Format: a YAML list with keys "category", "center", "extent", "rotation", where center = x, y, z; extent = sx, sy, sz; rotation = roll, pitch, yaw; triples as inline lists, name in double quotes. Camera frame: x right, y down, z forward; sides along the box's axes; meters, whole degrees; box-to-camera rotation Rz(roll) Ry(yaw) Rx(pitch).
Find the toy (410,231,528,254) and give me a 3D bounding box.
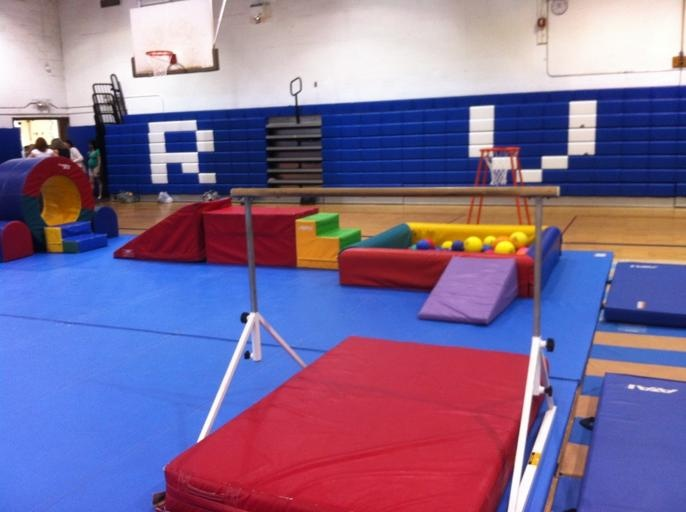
- category: "toy"
  center: [1.329, -0.109, 5.051]
  extent: [0.586, 0.181, 0.447]
  rotation: [-2, 3, 5]
